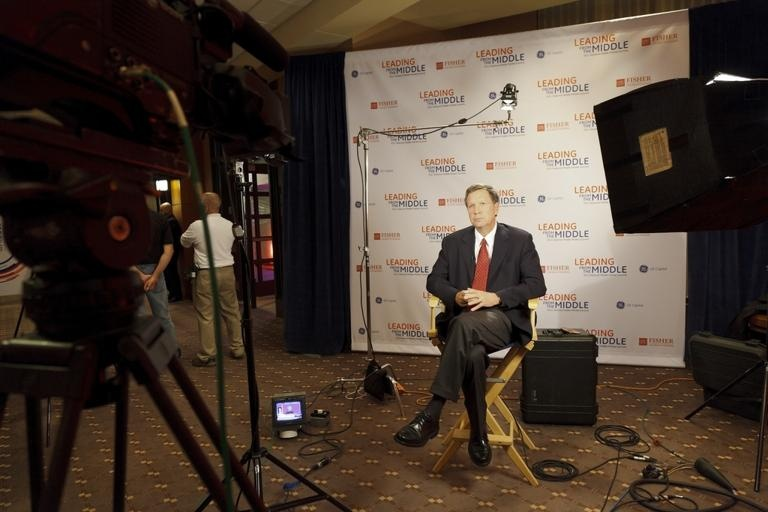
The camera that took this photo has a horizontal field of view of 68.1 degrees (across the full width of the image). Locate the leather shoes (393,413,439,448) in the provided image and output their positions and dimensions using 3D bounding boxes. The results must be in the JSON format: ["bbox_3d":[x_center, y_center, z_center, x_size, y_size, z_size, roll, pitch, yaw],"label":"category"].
[{"bbox_3d":[0.210,1.043,3.468,0.144,0.140,0.315,17,5,39],"label":"leather shoes"}]

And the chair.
[{"bbox_3d":[0.705,0.803,3.706,0.726,1.027,0.706,2,-2,36],"label":"chair"}]

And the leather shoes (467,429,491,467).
[{"bbox_3d":[0.572,1.174,3.396,0.120,0.274,0.203,0,8,9],"label":"leather shoes"}]
